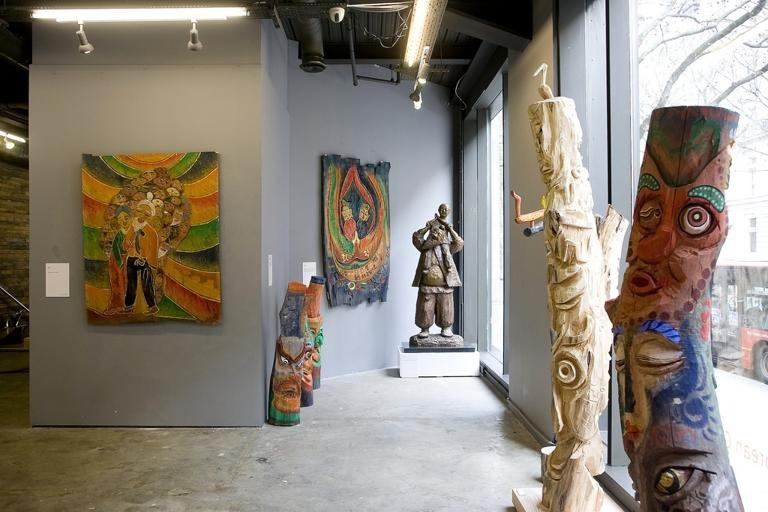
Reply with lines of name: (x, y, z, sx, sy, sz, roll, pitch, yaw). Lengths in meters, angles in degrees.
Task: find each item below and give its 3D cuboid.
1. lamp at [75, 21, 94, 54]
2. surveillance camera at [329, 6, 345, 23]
lamp: (-2.800, -2.048, 5.140, 0.133, 0.327, 0.564, -4, 7, -28)
surveillance camera: (-0.458, -2.308, 5.231, 0.161, 0.144, 0.124, 0, 6, 5)
